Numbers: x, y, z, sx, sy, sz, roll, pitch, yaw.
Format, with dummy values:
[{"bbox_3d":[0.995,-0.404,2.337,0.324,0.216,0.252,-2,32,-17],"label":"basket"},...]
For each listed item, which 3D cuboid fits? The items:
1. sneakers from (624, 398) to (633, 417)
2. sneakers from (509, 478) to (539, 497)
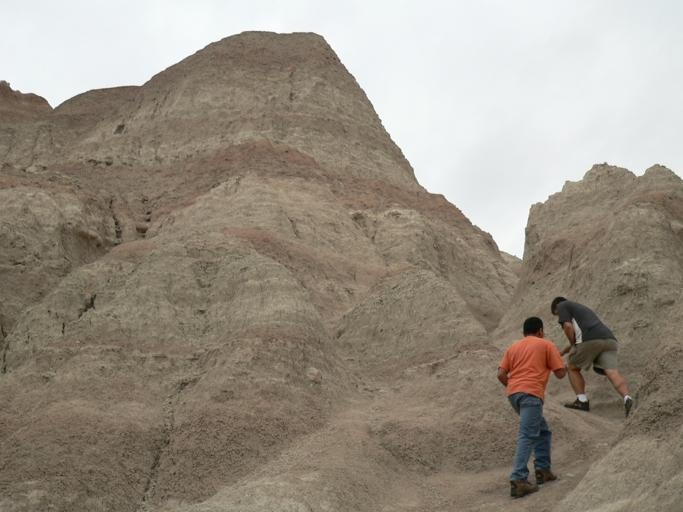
[{"bbox_3d":[4.746,2.502,19.047,0.097,0.262,0.184,4,-24,2],"label":"sneakers"},{"bbox_3d":[3.015,3.880,19.209,0.560,0.299,0.211,-6,-1,4],"label":"sneakers"}]
